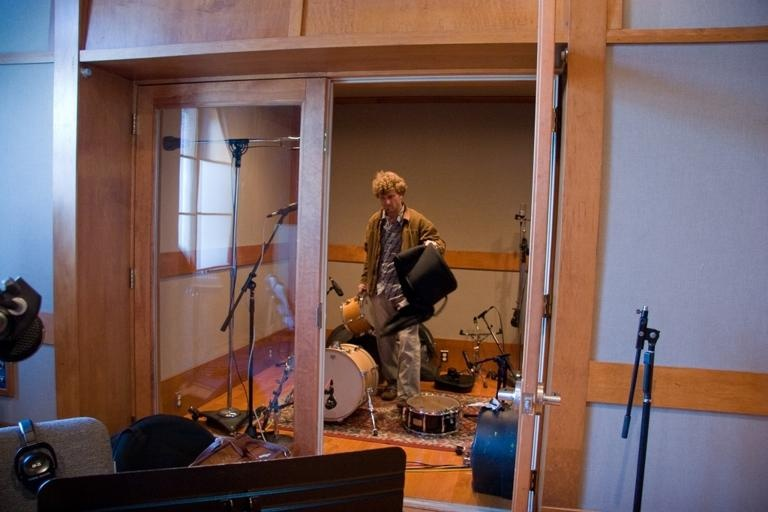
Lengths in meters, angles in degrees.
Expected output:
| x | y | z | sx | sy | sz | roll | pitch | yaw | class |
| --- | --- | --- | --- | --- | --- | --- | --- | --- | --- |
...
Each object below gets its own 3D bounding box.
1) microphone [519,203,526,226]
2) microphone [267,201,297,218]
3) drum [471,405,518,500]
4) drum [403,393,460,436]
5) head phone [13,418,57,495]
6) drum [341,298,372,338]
| x | y | z | sx | sy | sz | roll | pitch | yaw | class |
| --- | --- | --- | --- | --- | --- | --- | --- | --- | --- |
| 1.417 | -0.439 | 6.876 | 0.094 | 0.219 | 0.435 | 5 | 1 | 11 | microphone |
| -0.650 | -0.294 | 4.301 | 0.216 | 0.088 | 0.010 | 5 | 1 | 22 | microphone |
| 0.728 | 1.213 | 4.456 | 0.419 | 0.533 | 0.568 | 0 | 1 | 13 | drum |
| 0.361 | 1.224 | 5.203 | 0.428 | 0.287 | 0.317 | 5 | 1 | -4 | drum |
| -1.496 | 0.857 | 2.896 | 0.180 | 0.251 | 0.078 | 4 | 1 | -11 | head phone |
| -0.218 | 0.493 | 5.429 | 0.159 | 0.254 | 0.255 | -11 | -49 | 19 | drum |
